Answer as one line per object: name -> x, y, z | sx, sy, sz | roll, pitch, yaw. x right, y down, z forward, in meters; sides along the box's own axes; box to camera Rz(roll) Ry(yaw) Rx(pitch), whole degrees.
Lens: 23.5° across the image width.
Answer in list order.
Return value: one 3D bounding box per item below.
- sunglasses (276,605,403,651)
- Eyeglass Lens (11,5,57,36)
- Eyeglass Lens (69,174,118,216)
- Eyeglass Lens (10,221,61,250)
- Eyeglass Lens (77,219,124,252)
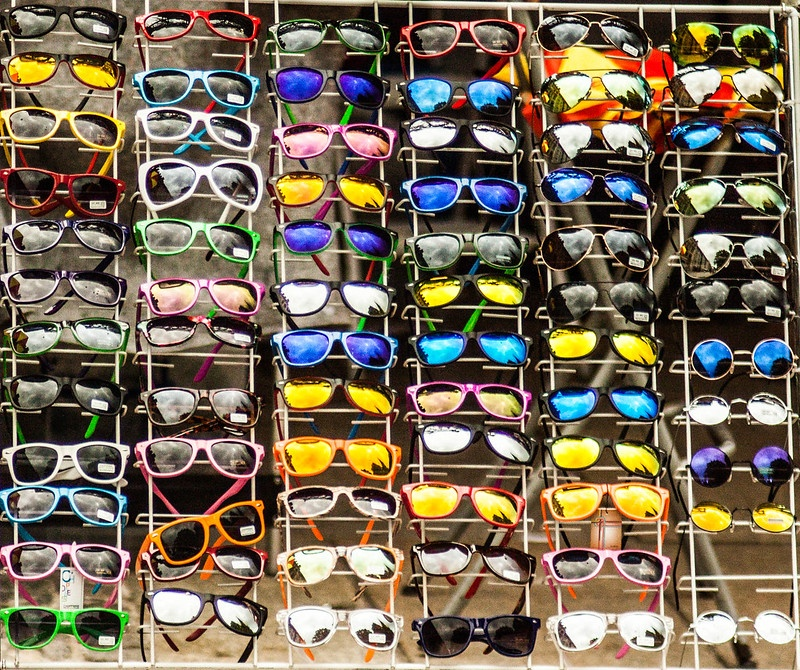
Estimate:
sunglasses -> -0.143, 0.690, 4.530 | 0.293, 0.106, 0.087 | 2, 8, -4
Eyeglass Lens -> -0.888, -0.762, 4.638 | 0.126, 0.083, 0.054 | 1, 8, -10
Eyeglass Lens -> -0.724, -0.339, 4.634 | 0.121, 0.105, 0.106 | 4, 8, 10
Eyeglass Lens -> -0.874, -0.239, 4.583 | 0.136, 0.080, 0.045 | 1, 8, -12
Eyeglass Lens -> -0.718, -0.241, 4.590 | 0.128, 0.078, 0.040 | 1, 8, -8
